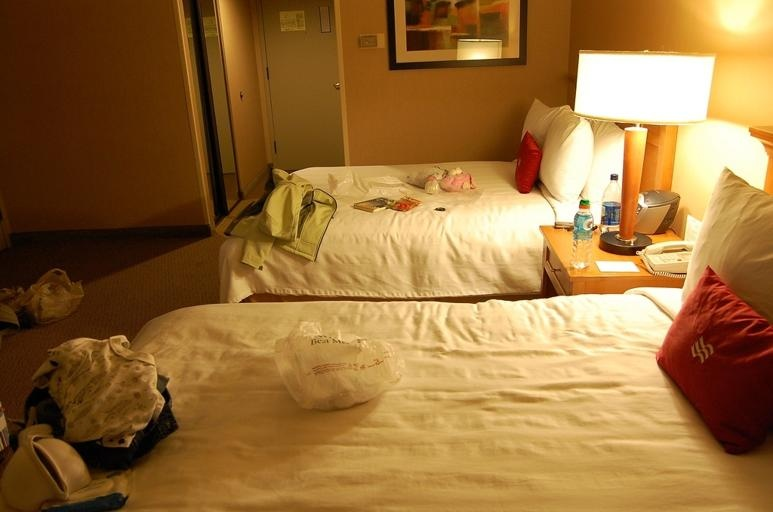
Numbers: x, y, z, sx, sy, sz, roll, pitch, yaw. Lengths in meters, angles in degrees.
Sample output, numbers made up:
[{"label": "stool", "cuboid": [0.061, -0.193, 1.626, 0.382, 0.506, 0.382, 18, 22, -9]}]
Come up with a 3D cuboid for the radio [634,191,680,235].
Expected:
[{"label": "radio", "cuboid": [1.455, -0.260, 3.032, 0.246, 0.219, 0.201, -1, 26, 1]}]

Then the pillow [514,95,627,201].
[{"label": "pillow", "cuboid": [1.220, -0.728, 3.683, 0.515, 0.604, 0.915, 3, 16, 3]}]

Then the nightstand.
[{"label": "nightstand", "cuboid": [1.089, -0.004, 2.927, 0.544, 0.332, 0.846, 2, 19, 3]}]

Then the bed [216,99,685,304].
[{"label": "bed", "cuboid": [0.574, -0.478, 4.677, 2.857, 1.232, 3.352, 4, 14, 1]}]

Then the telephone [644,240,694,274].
[{"label": "telephone", "cuboid": [1.352, 0.009, 2.670, 0.183, 0.067, 0.181, 4, 24, 14]}]

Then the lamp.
[{"label": "lamp", "cuboid": [1.301, -0.463, 2.939, 0.584, 0.888, 0.573, -8, 15, -38]}]
